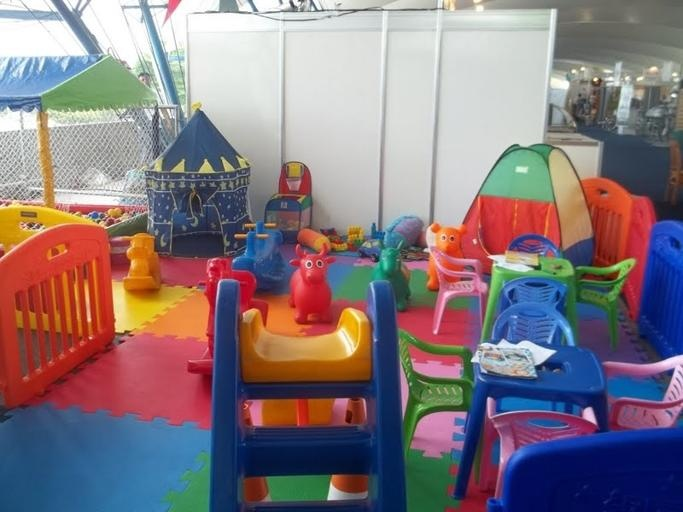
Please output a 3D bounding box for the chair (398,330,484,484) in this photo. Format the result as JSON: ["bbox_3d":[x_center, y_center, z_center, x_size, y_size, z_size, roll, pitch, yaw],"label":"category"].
[{"bbox_3d":[0.539,0.783,3.412,0.624,0.987,0.746,-2,21,9],"label":"chair"}]

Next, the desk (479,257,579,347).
[{"bbox_3d":[1.466,0.243,4.221,0.675,0.622,0.719,-1,8,16],"label":"desk"}]

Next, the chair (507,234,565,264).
[{"bbox_3d":[1.803,-0.138,4.961,0.297,0.339,0.322,2,14,12],"label":"chair"}]

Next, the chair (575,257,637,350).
[{"bbox_3d":[2.170,0.381,4.523,0.457,0.686,0.431,4,15,28],"label":"chair"}]

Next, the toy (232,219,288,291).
[{"bbox_3d":[-0.745,-0.009,5.386,0.310,0.541,0.971,1,19,4],"label":"toy"}]

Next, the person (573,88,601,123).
[{"bbox_3d":[4.002,-2.426,8.643,0.339,0.454,0.741,-2,17,5],"label":"person"}]

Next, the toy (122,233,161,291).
[{"bbox_3d":[-2.126,0.045,5.668,0.336,0.527,0.731,-4,11,-12],"label":"toy"}]

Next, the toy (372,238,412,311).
[{"bbox_3d":[0.468,0.192,5.016,0.335,0.614,0.458,3,15,12],"label":"toy"}]

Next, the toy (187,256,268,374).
[{"bbox_3d":[-0.826,0.394,3.906,0.581,0.745,0.432,0,9,-17],"label":"toy"}]

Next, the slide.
[{"bbox_3d":[-0.158,0.385,2.412,0.575,0.276,0.299,-2,15,-5],"label":"slide"}]

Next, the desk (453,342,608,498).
[{"bbox_3d":[0.987,0.889,2.897,0.643,0.557,0.692,-1,17,6],"label":"desk"}]

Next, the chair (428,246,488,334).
[{"bbox_3d":[1.032,0.214,5.001,0.636,0.993,0.699,-2,18,6],"label":"chair"}]
